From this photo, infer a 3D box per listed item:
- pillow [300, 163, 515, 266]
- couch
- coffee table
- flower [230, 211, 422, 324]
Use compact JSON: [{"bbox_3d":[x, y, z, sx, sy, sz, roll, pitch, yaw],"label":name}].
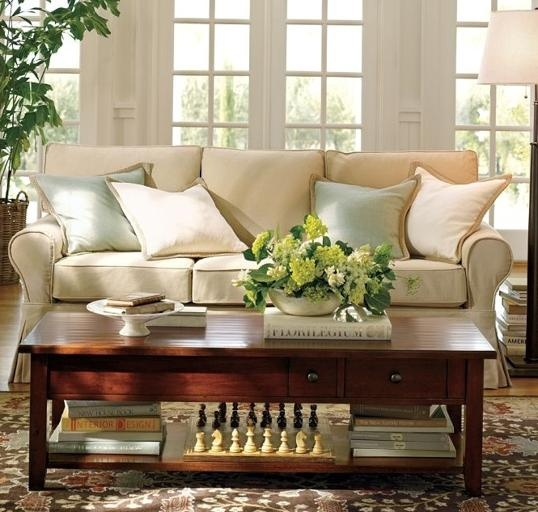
[{"bbox_3d":[0.668,-0.245,3.143,0.949,0.404,0.615,5,9,6],"label":"pillow"},{"bbox_3d":[-0.060,-0.182,4.034,3.231,1.050,1.416,2,10,0],"label":"couch"},{"bbox_3d":[-0.039,0.432,1.813,1.371,0.431,0.371,1,7,0],"label":"coffee table"},{"bbox_3d":[0.134,0.032,1.793,0.460,0.304,0.239,1,7,6],"label":"flower"}]
